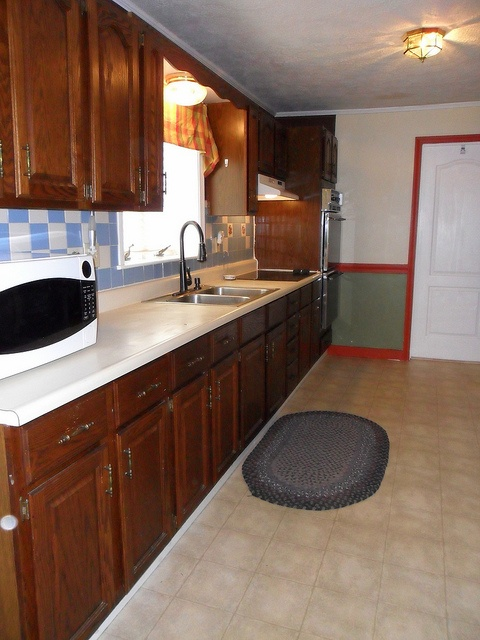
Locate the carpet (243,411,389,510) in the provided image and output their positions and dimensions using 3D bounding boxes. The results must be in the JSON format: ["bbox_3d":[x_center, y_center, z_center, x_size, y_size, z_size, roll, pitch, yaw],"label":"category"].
[{"bbox_3d":[0.441,0.735,2.652,0.726,0.027,1.173,3,9,21],"label":"carpet"}]

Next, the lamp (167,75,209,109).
[{"bbox_3d":[-0.284,-1.172,2.422,0.203,0.114,0.156,-2,9,-11],"label":"lamp"}]

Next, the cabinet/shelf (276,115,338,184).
[{"bbox_3d":[0.675,-1.586,4.744,0.533,0.880,0.869,-2,16,10],"label":"cabinet/shelf"}]

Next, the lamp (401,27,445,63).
[{"bbox_3d":[0.963,-1.422,2.533,0.161,0.127,0.173,6,21,22],"label":"lamp"}]

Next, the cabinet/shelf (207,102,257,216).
[{"bbox_3d":[-0.059,-1.055,3.149,0.344,0.703,0.153,-1,9,-2],"label":"cabinet/shelf"}]
